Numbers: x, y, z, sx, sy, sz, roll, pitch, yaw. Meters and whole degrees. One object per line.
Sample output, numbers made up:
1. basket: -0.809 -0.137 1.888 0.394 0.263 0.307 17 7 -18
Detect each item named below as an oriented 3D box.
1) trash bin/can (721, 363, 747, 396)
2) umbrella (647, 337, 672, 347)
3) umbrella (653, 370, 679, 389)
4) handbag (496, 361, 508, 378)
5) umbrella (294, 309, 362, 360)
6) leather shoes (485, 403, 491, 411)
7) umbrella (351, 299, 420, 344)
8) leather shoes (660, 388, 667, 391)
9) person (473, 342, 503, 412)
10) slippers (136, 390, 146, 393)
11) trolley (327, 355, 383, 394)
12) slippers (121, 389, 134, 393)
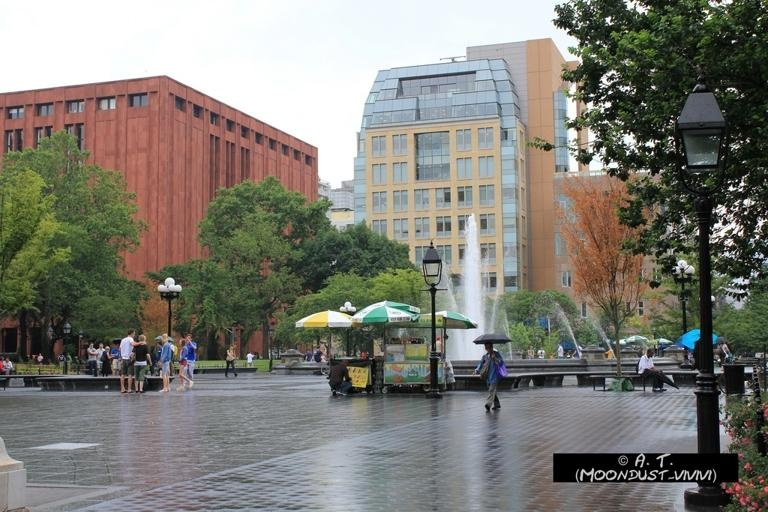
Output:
1. trash bin/can: 12.467 4.373 43.898 0.820 1.070 0.753 -2 0 17
2. umbrella: 20.071 6.249 89.470 1.829 0.615 1.735 1 -6 -5
3. umbrella: 11.662 5.112 50.801 1.039 0.513 1.336 -2 -14 39
4. handbag: 4.222 4.007 43.598 0.258 0.496 0.863 -6 -6 17
5. umbrella: -2.434 2.827 54.197 2.182 1.392 2.056 6 -11 -42
6. leather shoes: 3.571 5.225 42.371 0.109 0.306 0.133 -6 14 12
7. umbrella: 0.161 2.487 52.889 2.719 1.229 5.780 -3 -6 0
8. leather shoes: 11.648 5.570 51.440 0.258 0.118 0.348 0 -3 -2
9. person: 3.648 4.237 43.130 0.935 2.248 0.918 -7 -2 15
10. slippers: -10.159 5.647 51.496 0.271 0.107 0.490 -2 -6 -12
11. trolley: -1.014 4.995 50.500 2.924 1.615 1.704 1 0 4
12. slippers: -10.687 5.668 51.556 0.488 0.148 1.050 -2 -6 -11
